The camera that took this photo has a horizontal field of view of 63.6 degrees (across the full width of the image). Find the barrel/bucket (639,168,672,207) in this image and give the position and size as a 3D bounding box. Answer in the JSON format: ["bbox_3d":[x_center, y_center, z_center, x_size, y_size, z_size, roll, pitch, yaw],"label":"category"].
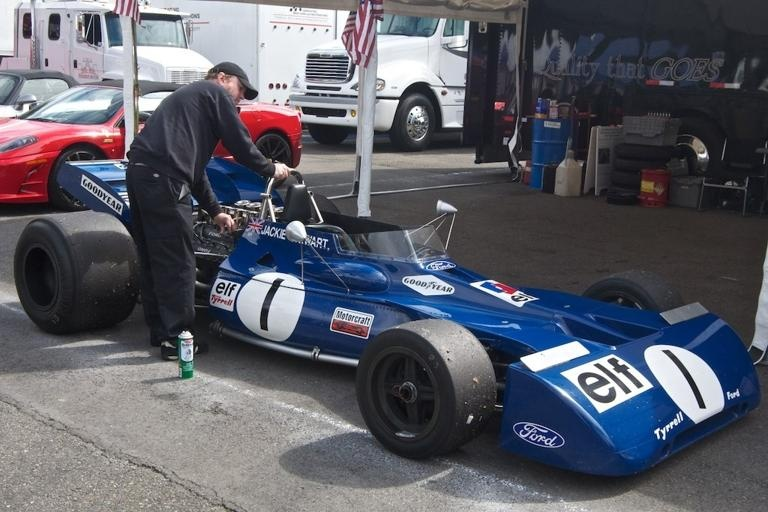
[{"bbox_3d":[4.694,-1.195,10.804,0.602,0.654,0.610,-1,5,0],"label":"barrel/bucket"}]

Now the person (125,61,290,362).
[{"bbox_3d":[-1.488,-0.540,5.135,1.021,2.484,1.196,5,6,43],"label":"person"}]

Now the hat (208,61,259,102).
[{"bbox_3d":[-1.200,-1.478,5.217,0.443,0.229,0.306,29,-7,-19],"label":"hat"}]

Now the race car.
[{"bbox_3d":[0.313,-0.084,6.042,6.054,1.452,5.287,12,16,34],"label":"race car"}]

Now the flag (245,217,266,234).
[{"bbox_3d":[-1.059,-0.241,5.119,0.145,0.143,0.039,1,-16,39],"label":"flag"}]
